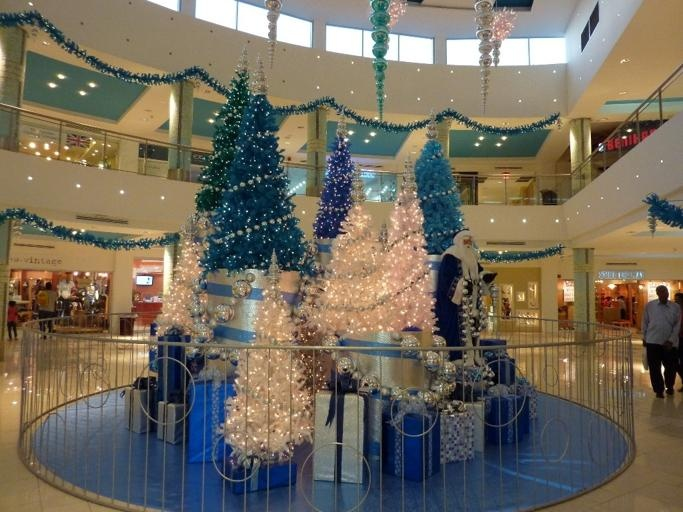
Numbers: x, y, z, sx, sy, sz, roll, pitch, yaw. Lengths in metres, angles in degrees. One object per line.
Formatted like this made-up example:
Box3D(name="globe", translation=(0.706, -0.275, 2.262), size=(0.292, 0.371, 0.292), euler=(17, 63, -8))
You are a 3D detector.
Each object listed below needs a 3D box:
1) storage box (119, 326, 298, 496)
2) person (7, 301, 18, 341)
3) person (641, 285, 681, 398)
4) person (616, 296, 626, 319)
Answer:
Box3D(name="storage box", translation=(-1.712, 1.996, 7.271), size=(1.764, 0.886, 1.903), euler=(3, -1, -2))
Box3D(name="person", translation=(-9.027, 1.785, 16.031), size=(0.262, 1.088, 0.956), euler=(5, -8, -29))
Box3D(name="person", translation=(5.377, 1.437, 9.694), size=(0.661, 1.862, 0.552), euler=(5, -8, -34))
Box3D(name="person", translation=(11.110, 2.083, 22.940), size=(0.323, 0.932, 0.165), euler=(-3, -8, 28))
